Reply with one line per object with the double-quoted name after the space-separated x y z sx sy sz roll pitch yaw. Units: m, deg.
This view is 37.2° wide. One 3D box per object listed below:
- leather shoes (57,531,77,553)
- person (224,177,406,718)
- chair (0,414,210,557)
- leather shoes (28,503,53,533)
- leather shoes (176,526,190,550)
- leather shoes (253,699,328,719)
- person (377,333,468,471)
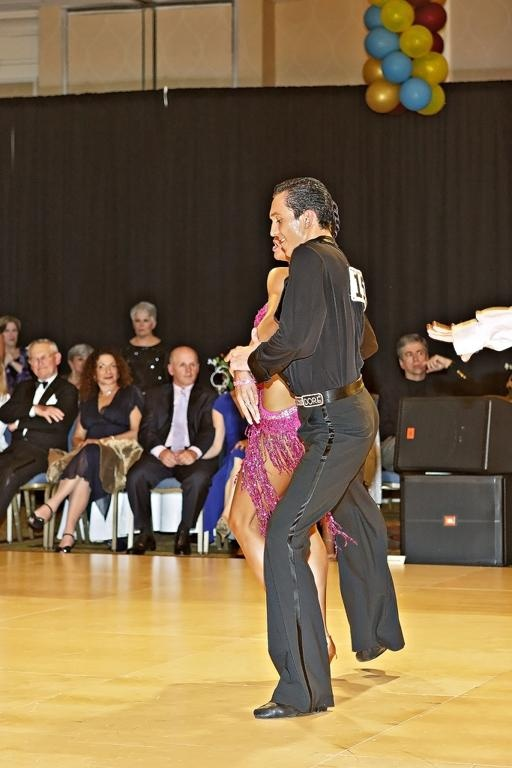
-1.261 1.045 5.033 0.096 0.086 0.258 0 -5 0 "leather shoes"
0.135 0.117 1.833 0.342 1.266 0.603 -3 -2 13 "person"
-1.204 0.781 5.682 0.853 1.361 0.979 6 -12 -28 "chair"
-1.432 0.889 5.081 0.066 0.092 0.239 -11 -31 -33 "leather shoes"
-0.491 1.036 5.003 0.088 0.164 0.136 -2 -2 1 "leather shoes"
0.069 0.651 1.547 0.132 0.049 0.045 7 -13 -14 "leather shoes"
1.451 0.231 6.393 0.697 1.254 0.772 -13 17 -2 "person"
